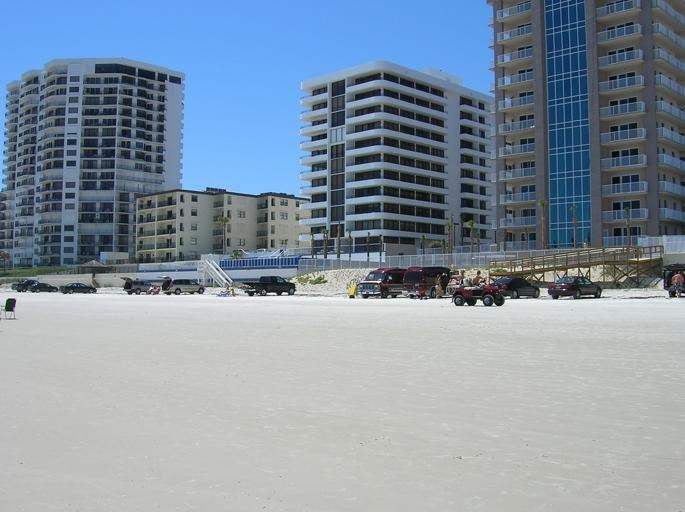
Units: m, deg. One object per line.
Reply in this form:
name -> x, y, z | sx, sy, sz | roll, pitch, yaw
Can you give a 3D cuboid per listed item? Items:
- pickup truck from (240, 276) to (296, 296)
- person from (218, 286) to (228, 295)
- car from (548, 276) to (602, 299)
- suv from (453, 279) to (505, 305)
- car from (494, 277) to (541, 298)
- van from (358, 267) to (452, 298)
pickup truck -> -5.697, 2.220, 63.066 | 3.451, 0.871, 1.730 | -2, 1, -31
person -> -10.260, 2.899, 70.870 | 1.048, 0.689, 1.730 | 0, 6, -15
car -> 13.161, 1.721, 45.784 | 3.105, 0.735, 1.278 | -2, 2, -38
suv -> 6.058, 1.766, 36.885 | 2.183, 0.944, 1.930 | 0, 5, 5
car -> 10.112, 1.794, 47.669 | 2.817, 0.681, 1.194 | 0, 1, -34
van -> 4.051, 1.404, 51.022 | 5.133, 1.272, 2.318 | 1, -4, -8
